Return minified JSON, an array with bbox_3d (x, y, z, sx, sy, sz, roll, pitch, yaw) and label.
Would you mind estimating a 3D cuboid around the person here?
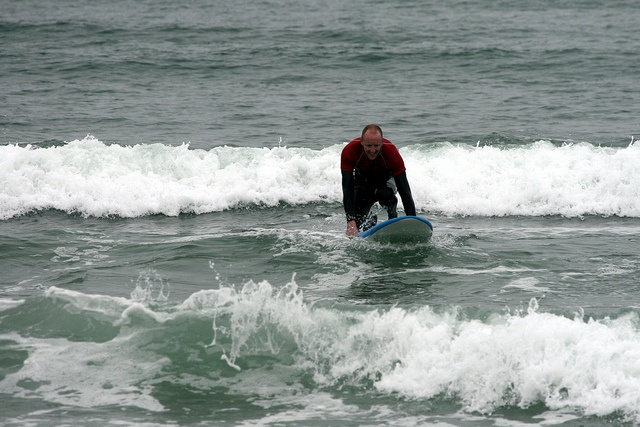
[{"bbox_3d":[1.249,-0.759,21.222,1.523,2.488,0.913,-1,13,0],"label":"person"}]
